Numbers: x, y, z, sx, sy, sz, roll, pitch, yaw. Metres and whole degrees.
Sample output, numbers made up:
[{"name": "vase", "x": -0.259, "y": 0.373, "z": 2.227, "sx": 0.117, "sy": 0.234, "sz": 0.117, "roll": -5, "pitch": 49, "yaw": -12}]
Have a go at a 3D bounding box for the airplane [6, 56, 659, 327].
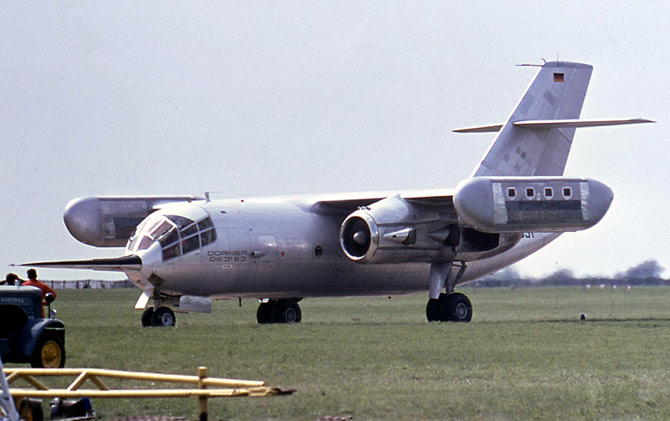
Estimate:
[{"name": "airplane", "x": 0.846, "y": -0.726, "z": 33.018, "sx": 16.999, "sy": 9.415, "sz": 6.482, "roll": 0, "pitch": 2, "yaw": -8}]
